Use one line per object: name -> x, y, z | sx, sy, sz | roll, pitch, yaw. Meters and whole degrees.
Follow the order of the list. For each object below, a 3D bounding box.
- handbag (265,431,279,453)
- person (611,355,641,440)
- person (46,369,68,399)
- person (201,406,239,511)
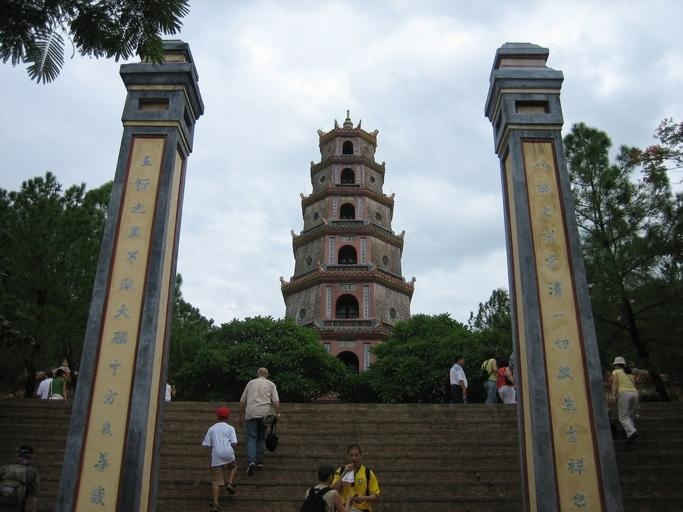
handbag -> -1.107, 2.886, 8.406 | 0.178, 0.258, 0.256 | 2, -21, -4
person -> 5.141, 2.517, 9.725 | 0.357, 1.604, 1.449 | -9, -23, 24
person -> -6.281, 2.810, 11.946 | 0.380, 0.781, 1.078 | 11, -23, -26
person -> -1.823, 3.001, 8.068 | 0.510, 1.429, 1.377 | 4, -21, -10
